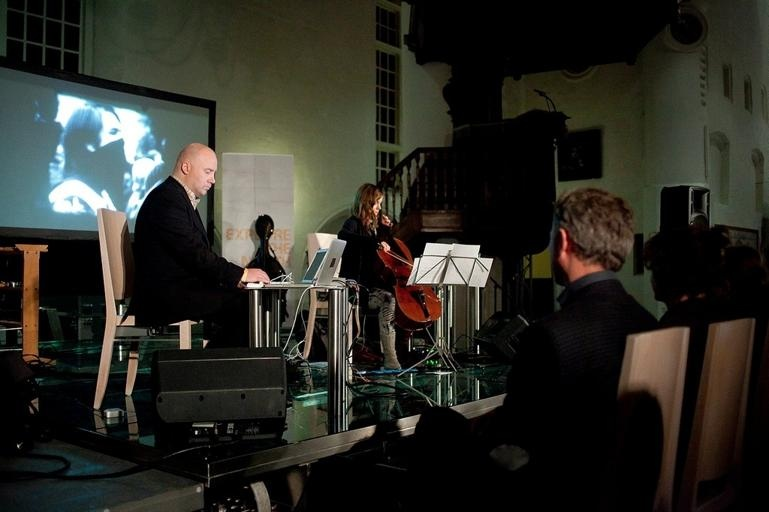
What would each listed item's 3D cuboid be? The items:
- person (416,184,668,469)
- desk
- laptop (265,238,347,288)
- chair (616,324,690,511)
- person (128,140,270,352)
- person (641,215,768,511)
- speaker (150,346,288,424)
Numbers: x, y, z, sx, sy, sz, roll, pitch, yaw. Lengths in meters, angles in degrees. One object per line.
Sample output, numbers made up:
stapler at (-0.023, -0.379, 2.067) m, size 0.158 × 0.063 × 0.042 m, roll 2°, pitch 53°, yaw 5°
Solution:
person at (1.061, 0.366, 3.741) m, size 0.861 × 1.545 × 0.540 m, roll -3°, pitch -4°, yaw 14°
desk at (-0.675, 0.468, 5.156) m, size 0.842 × 0.853 × 0.866 m, roll 1°, pitch -1°, yaw -11°
laptop at (-0.510, 0.087, 4.840) m, size 0.387 × 0.248 × 0.415 m, roll 0°, pitch -1°, yaw -16°
chair at (1.437, 0.911, 3.614) m, size 0.425 × 1.031 × 0.232 m, roll 1°, pitch -4°, yaw -39°
person at (-1.521, -0.097, 5.323) m, size 0.901 × 1.631 × 0.334 m, roll -3°, pitch -4°, yaw 10°
person at (2.013, 0.614, 4.759) m, size 1.131 × 1.683 × 0.581 m, roll 4°, pitch 2°, yaw -28°
speaker at (-1.046, 0.832, 4.298) m, size 0.677 × 0.461 × 0.512 m, roll 0°, pitch 3°, yaw -7°
